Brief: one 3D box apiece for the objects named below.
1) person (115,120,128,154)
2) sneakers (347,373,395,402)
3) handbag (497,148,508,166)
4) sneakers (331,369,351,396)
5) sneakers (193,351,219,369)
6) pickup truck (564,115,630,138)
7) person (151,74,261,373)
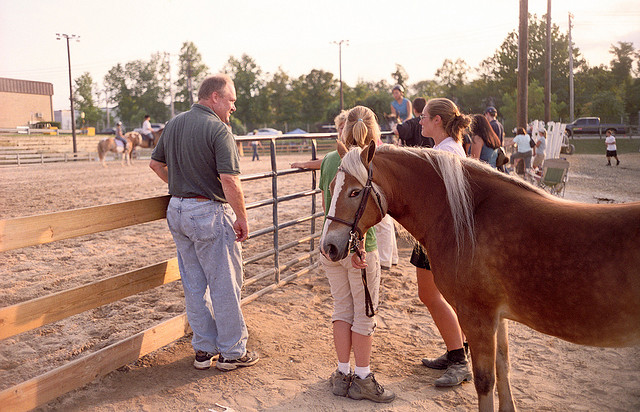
[{"bbox_3d":[-10.150,-3.676,25.683,0.486,1.359,2.411,-5,16,-21],"label":"person"},{"bbox_3d":[0.452,1.674,4.703,0.453,0.276,0.206,1,5,-6],"label":"sneakers"},{"bbox_3d":[2.421,-0.614,6.639,0.094,0.319,0.131,-2,41,18],"label":"handbag"},{"bbox_3d":[0.219,1.676,4.774,0.164,0.158,0.360,14,12,0],"label":"sneakers"},{"bbox_3d":[-1.154,1.543,5.088,0.118,0.145,0.309,0,3,9],"label":"sneakers"},{"bbox_3d":[18.908,-5.490,34.274,5.772,1.156,2.304,-9,18,-31],"label":"pickup truck"},{"bbox_3d":[-1.091,0.174,4.974,0.832,2.852,0.757,-3,14,-14],"label":"person"}]
